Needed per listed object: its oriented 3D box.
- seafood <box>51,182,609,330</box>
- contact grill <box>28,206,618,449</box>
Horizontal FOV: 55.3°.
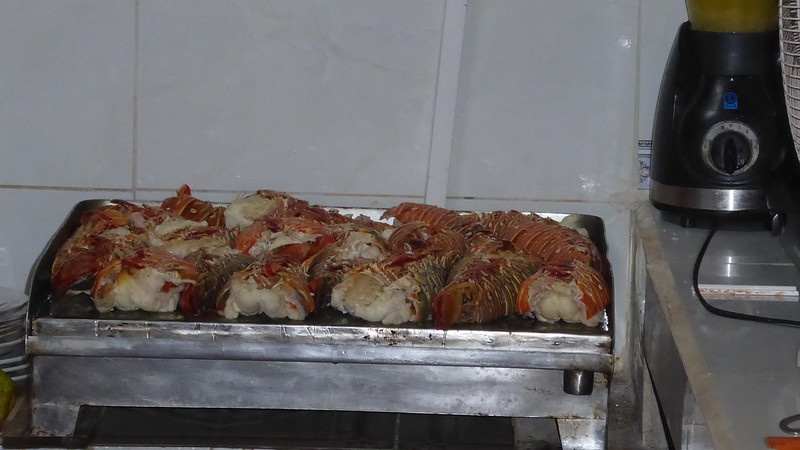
[{"bbox_3d":[-0.165,0.105,2.003,0.989,0.194,0.566,2,9,-4],"label":"seafood"},{"bbox_3d":[-0.215,0.227,1.885,1.029,0.262,0.578,1,16,0],"label":"contact grill"}]
